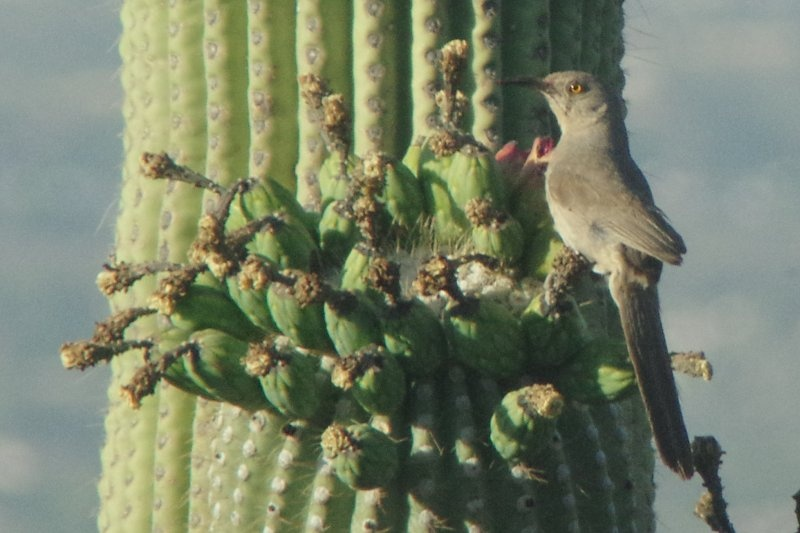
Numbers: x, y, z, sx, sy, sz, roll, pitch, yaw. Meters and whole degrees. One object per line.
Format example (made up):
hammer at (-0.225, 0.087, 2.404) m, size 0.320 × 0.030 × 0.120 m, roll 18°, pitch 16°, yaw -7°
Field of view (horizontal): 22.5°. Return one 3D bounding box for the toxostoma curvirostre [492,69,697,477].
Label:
toxostoma curvirostre at (0.677, 0.114, 7.474) m, size 0.412 × 1.534 × 0.657 m, roll -2°, pitch -23°, yaw -30°
